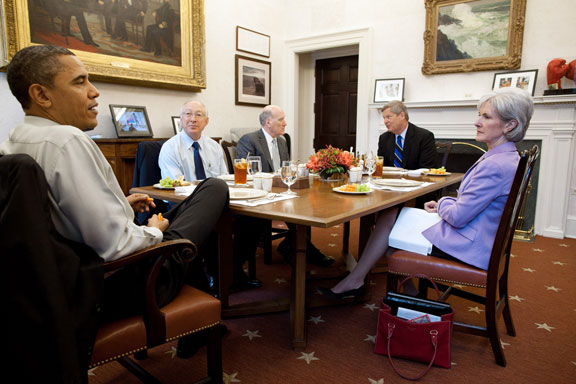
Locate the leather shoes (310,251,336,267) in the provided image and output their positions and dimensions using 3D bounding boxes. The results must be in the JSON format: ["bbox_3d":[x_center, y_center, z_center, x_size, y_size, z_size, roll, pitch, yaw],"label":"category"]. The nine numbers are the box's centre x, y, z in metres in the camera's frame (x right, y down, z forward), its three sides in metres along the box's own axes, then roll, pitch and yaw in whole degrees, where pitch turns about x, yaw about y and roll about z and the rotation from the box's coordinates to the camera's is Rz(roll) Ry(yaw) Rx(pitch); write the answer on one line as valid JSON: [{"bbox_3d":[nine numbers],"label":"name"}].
[{"bbox_3d":[0.299,0.584,3.479,0.169,0.047,0.123,16,7,7],"label":"leather shoes"}]

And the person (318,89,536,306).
[{"bbox_3d":[0.898,0.058,2.527,1.076,1.382,0.591,8,3,30],"label":"person"}]

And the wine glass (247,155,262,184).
[{"bbox_3d":[-0.231,-0.155,2.579,0.114,0.162,0.115,-1,0,-8],"label":"wine glass"}]

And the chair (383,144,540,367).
[{"bbox_3d":[1.250,0.234,3.087,1.198,2.037,1.097,5,8,32],"label":"chair"}]

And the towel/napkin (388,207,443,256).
[{"bbox_3d":[0.775,0.233,2.386,0.256,0.067,0.276,3,42,32],"label":"towel/napkin"}]

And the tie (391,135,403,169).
[{"bbox_3d":[1.147,-0.415,4.042,0.153,0.597,0.059,0,54,17],"label":"tie"}]

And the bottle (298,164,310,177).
[{"bbox_3d":[0.118,-0.155,2.881,0.073,0.097,0.096,0,1,24],"label":"bottle"}]

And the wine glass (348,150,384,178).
[{"bbox_3d":[0.635,-0.221,3.202,0.277,0.245,0.327,1,1,14],"label":"wine glass"}]

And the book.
[{"bbox_3d":[0.720,0.617,2.175,0.351,0.138,0.298,7,0,23],"label":"book"}]

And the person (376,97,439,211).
[{"bbox_3d":[1.210,-0.299,4.123,0.597,1.277,0.685,10,18,31],"label":"person"}]

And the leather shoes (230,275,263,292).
[{"bbox_3d":[-0.322,0.706,3.030,0.261,0.113,0.092,-2,3,-11],"label":"leather shoes"}]

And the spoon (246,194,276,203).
[{"bbox_3d":[-0.147,0.040,2.322,0.057,0.030,0.203,12,17,36],"label":"spoon"}]

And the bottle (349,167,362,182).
[{"bbox_3d":[0.517,-0.127,3.008,0.106,0.130,0.104,-1,14,0],"label":"bottle"}]

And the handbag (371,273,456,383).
[{"bbox_3d":[0.730,0.727,2.307,0.547,0.447,0.400,4,8,27],"label":"handbag"}]

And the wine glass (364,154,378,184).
[{"bbox_3d":[0.652,-0.157,3.083,0.099,0.227,0.094,5,24,11],"label":"wine glass"}]

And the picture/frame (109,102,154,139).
[{"bbox_3d":[-1.756,-0.775,4.319,0.037,0.410,0.492,-18,-6,37],"label":"picture/frame"}]
